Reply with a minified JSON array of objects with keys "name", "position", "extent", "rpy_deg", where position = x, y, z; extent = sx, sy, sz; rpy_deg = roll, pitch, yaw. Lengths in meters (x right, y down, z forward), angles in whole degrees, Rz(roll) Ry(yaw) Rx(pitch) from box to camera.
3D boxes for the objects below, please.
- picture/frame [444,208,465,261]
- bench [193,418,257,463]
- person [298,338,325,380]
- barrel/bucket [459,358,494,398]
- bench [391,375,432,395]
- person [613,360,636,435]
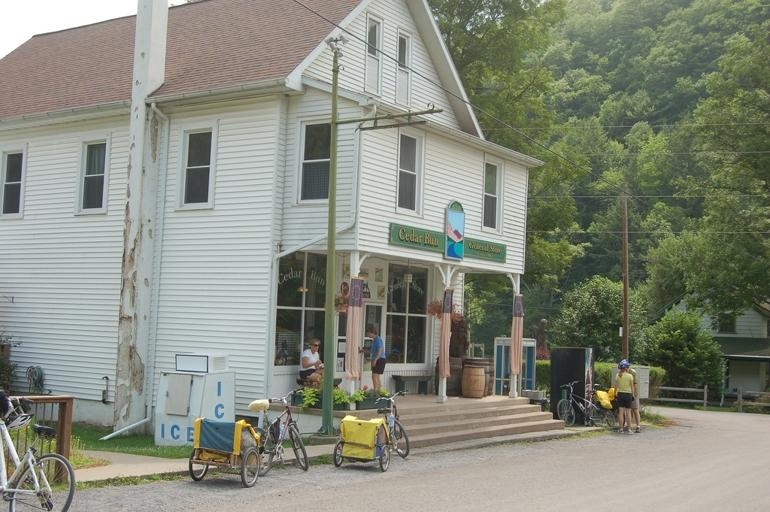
[{"name":"picture/frame","position":[2.371,-0.799,28.350],"extent":[0.233,1.958,1.028],"rpy_deg":[-7,-14,36]},{"name":"bench","position":[-3.876,4.364,20.244],"extent":[0.908,0.774,1.263],"rpy_deg":[3,-7,13]},{"name":"person","position":[-2.341,3.289,25.759],"extent":[0.750,1.281,0.648],"rpy_deg":[0,-11,3]},{"name":"barrel/bucket","position":[3.325,4.343,29.496],"extent":[1.327,1.328,1.362],"rpy_deg":[1,-4,0]},{"name":"bench","position":[0.974,4.566,29.285],"extent":[0.535,0.643,1.887],"rpy_deg":[-8,-14,39]},{"name":"person","position":[8.706,5.071,29.871],"extent":[0.675,2.593,1.401],"rpy_deg":[-2,-11,14]}]
